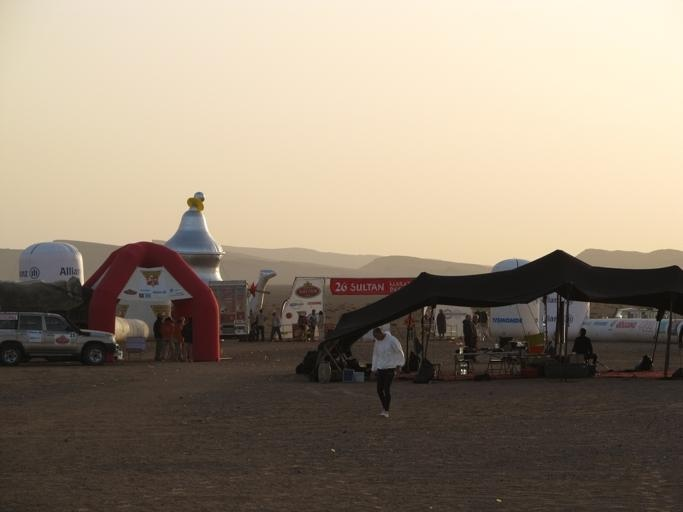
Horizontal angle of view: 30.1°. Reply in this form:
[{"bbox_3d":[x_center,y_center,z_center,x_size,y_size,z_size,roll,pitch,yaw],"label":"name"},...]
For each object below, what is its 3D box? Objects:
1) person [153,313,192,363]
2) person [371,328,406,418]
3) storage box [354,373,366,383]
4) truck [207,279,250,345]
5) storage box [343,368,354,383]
[{"bbox_3d":[-5.427,2.738,41.128,0.974,1.840,0.867,2,1,-9],"label":"person"},{"bbox_3d":[0.936,2.417,26.168,0.809,1.796,0.708,-6,-13,37],"label":"person"},{"bbox_3d":[0.546,3.170,33.127,0.229,0.257,0.572,-3,-8,28],"label":"storage box"},{"bbox_3d":[-4.568,2.236,53.405,1.304,2.601,1.110,-2,0,-6],"label":"truck"},{"bbox_3d":[0.186,3.125,32.917,0.291,0.369,0.316,1,-5,-7],"label":"storage box"}]
